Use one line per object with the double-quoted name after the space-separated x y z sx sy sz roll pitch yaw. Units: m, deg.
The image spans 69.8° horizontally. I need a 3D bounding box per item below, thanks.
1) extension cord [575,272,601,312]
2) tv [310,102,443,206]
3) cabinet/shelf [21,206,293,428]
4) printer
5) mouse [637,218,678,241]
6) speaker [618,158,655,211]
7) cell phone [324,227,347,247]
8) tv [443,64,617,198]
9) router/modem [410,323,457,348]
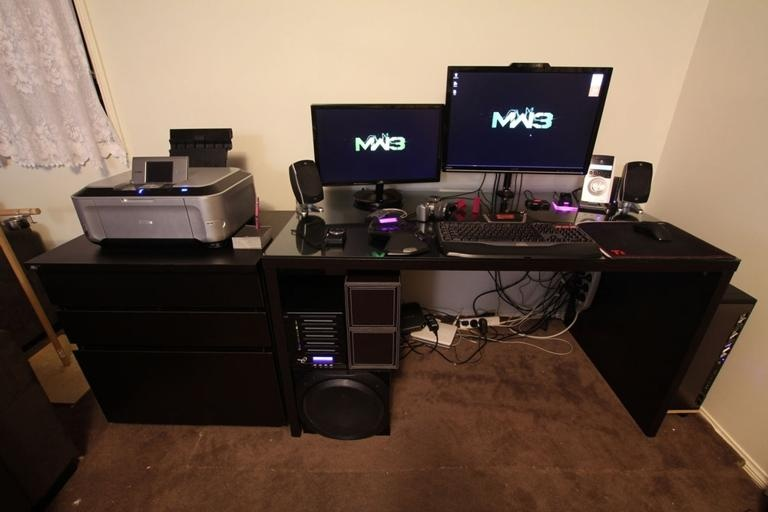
1.262 0.221 3.420 0.114 0.282 0.087 2 22 -29 "extension cord"
-0.037 -0.557 3.110 0.746 0.560 0.214 -5 21 -17 "tv"
-1.068 0.297 3.265 1.206 1.082 0.909 -1 28 8 "cabinet/shelf"
-1.219 -0.363 2.964 0.881 0.531 0.881 12 18 33 "printer"
1.428 -0.132 2.834 0.219 0.061 0.168 -7 28 -15 "mouse"
1.368 -0.401 3.021 0.159 0.238 0.146 -2 19 -11 "speaker"
-0.246 -0.095 2.789 0.105 0.053 0.136 -1 28 -3 "cell phone"
0.806 -0.703 2.997 0.791 0.663 0.251 2 34 2 "tv"
0.324 0.510 3.517 0.176 0.034 0.177 8 23 21 "router/modem"
